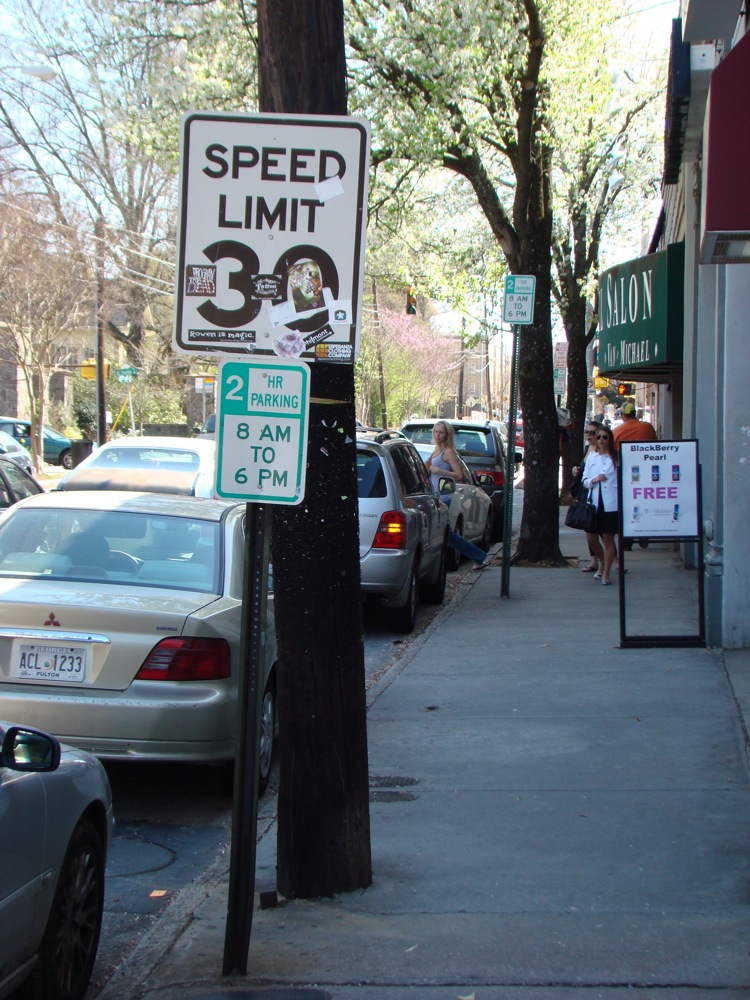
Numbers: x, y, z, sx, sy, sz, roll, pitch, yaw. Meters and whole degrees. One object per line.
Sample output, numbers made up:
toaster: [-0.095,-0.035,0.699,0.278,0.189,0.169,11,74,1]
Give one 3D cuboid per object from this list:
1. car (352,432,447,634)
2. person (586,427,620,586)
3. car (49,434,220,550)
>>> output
car: [0.325,0.348,10.871,0.951,2.215,3.494,0,-1,5]
person: [2.930,0.115,12.402,0.381,2.057,0.912,0,-1,14]
car: [-2.769,-0.413,11.525,1.170,0.965,2.858,2,11,3]
